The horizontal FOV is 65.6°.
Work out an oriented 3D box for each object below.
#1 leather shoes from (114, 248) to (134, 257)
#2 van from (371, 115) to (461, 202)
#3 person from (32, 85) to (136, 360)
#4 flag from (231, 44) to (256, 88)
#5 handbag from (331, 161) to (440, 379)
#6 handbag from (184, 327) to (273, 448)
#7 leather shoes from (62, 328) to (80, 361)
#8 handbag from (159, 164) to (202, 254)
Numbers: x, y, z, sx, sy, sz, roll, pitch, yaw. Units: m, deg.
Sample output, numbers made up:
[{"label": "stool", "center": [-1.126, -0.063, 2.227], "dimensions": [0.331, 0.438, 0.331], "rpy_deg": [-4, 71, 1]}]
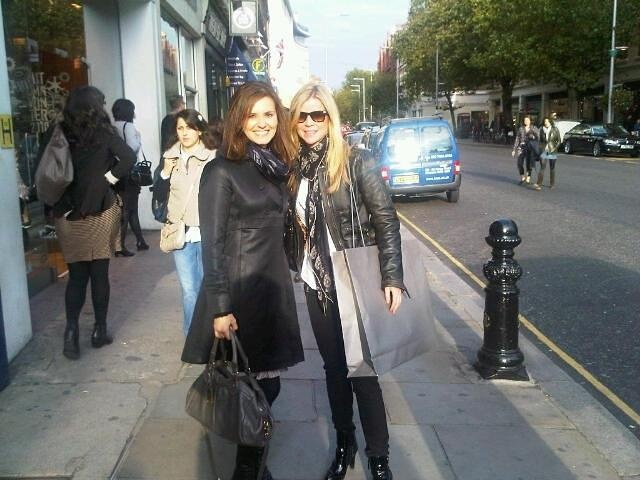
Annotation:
[{"label": "leather shoes", "center": [-3.083, 0.196, 7.753], "dimensions": [0.239, 0.112, 0.132], "rpy_deg": [-4, 9, -14]}, {"label": "van", "center": [2.729, -2.512, 14.896], "dimensions": [1.991, 2.029, 3.712], "rpy_deg": [-3, 21, 1]}, {"label": "person", "center": [-2.139, -0.207, 4.501], "dimensions": [0.829, 2.404, 0.765], "rpy_deg": [-2, -1, -35]}, {"label": "flag", "center": [-3.684, -8.778, 24.961], "dimensions": [0.787, 2.008, 3.978], "rpy_deg": [-10, 22, -2]}, {"label": "handbag", "center": [0.354, 0.162, 2.789], "dimensions": [0.655, 1.076, 0.196], "rpy_deg": [-8, -3, -44]}, {"label": "handbag", "center": [-0.464, 0.669, 2.417], "dimensions": [0.486, 0.548, 0.218], "rpy_deg": [14, 15, 27]}, {"label": "leather shoes", "center": [-2.172, 0.905, 4.317], "dimensions": [0.134, 0.268, 0.138], "rpy_deg": [-7, 13, -27]}, {"label": "handbag", "center": [-1.262, -0.245, 4.313], "dimensions": [0.108, 0.678, 0.278], "rpy_deg": [44, 27, 24]}]
